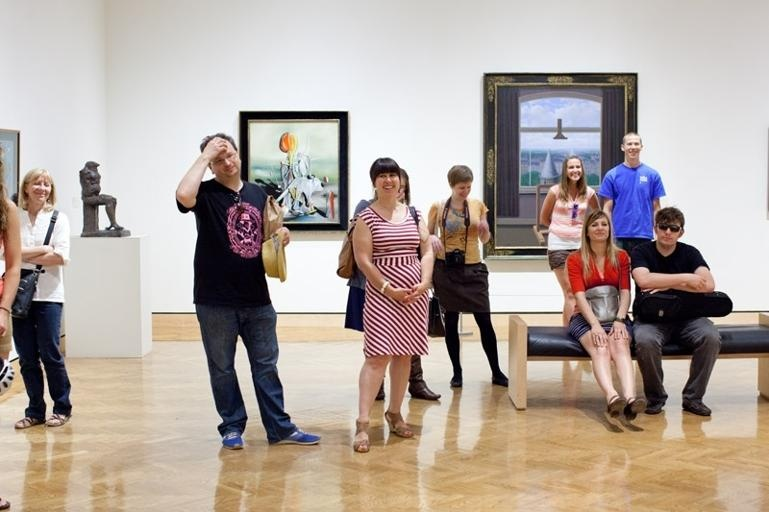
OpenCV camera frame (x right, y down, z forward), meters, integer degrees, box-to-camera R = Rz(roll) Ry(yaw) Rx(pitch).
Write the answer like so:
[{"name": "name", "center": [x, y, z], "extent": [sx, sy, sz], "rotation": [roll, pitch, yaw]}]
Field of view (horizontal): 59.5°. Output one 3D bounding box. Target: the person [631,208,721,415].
[{"name": "person", "center": [2.931, 0.521, 6.807], "extent": [0.877, 2.007, 0.755], "rotation": [3, 10, 20]}]

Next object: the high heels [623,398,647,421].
[{"name": "high heels", "center": [2.324, 1.461, 6.307], "extent": [0.147, 0.114, 0.316], "rotation": [5, -38, 2]}]

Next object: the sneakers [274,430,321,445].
[{"name": "sneakers", "center": [-0.799, 1.647, 6.193], "extent": [0.421, 0.165, 0.157], "rotation": [-1, -4, -3]}]

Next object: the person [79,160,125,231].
[{"name": "person", "center": [-3.721, -0.761, 8.836], "extent": [0.538, 0.947, 0.682], "rotation": [-5, 11, -24]}]

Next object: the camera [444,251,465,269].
[{"name": "camera", "center": [0.776, 0.046, 7.431], "extent": [0.272, 0.263, 0.151], "rotation": [0, -4, 10]}]

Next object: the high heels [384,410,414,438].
[{"name": "high heels", "center": [0.120, 1.568, 6.361], "extent": [0.130, 0.152, 0.377], "rotation": [-4, 0, -28]}]

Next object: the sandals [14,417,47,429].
[{"name": "sandals", "center": [-3.431, 1.600, 6.516], "extent": [0.104, 0.075, 0.255], "rotation": [-5, -12, 26]}]

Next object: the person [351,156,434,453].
[{"name": "person", "center": [0.071, 0.407, 6.089], "extent": [0.751, 2.538, 0.665], "rotation": [-1, 10, -4]}]

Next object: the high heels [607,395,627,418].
[{"name": "high heels", "center": [2.184, 1.420, 6.408], "extent": [0.153, 0.112, 0.357], "rotation": [-1, -34, 0]}]

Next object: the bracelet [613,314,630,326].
[{"name": "bracelet", "center": [2.397, 0.643, 6.847], "extent": [0.138, 0.089, 0.128], "rotation": [3, 4, -39]}]

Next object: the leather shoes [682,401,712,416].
[{"name": "leather shoes", "center": [3.109, 1.515, 6.763], "extent": [0.107, 0.116, 0.289], "rotation": [-1, -5, -26]}]

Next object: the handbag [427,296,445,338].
[{"name": "handbag", "center": [0.483, 0.616, 6.555], "extent": [0.167, 0.386, 0.433], "rotation": [-6, -9, -5]}]

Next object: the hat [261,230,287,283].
[{"name": "hat", "center": [-0.968, -0.002, 5.890], "extent": [0.204, 0.406, 0.310], "rotation": [-2, 10, -11]}]

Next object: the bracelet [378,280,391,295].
[{"name": "bracelet", "center": [-0.010, 0.273, 5.955], "extent": [0.057, 0.097, 0.099], "rotation": [22, -6, -6]}]

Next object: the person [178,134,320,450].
[{"name": "person", "center": [-1.296, 0.317, 6.001], "extent": [0.957, 2.769, 0.437], "rotation": [-2, 10, -9]}]
